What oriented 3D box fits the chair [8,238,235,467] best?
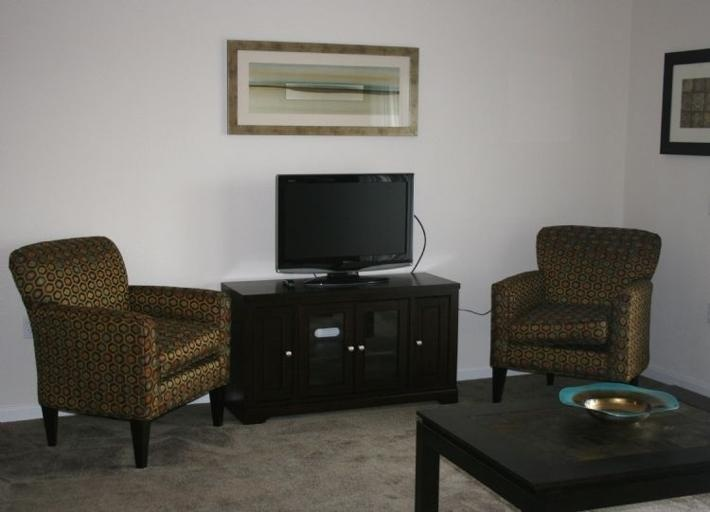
[{"bbox_3d":[-1.424,0.458,4.074,1.356,1.468,1.086,3,7,23],"label":"chair"}]

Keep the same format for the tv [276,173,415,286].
[{"bbox_3d":[-0.089,-0.206,4.204,0.754,0.579,0.192,-2,4,-18],"label":"tv"}]

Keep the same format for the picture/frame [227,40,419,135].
[{"bbox_3d":[-0.215,-1.181,4.348,1.337,0.625,0.125,-2,10,-12],"label":"picture/frame"}]

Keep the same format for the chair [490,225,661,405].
[{"bbox_3d":[1.439,0.370,4.567,1.163,1.423,1.257,2,1,28],"label":"chair"}]
